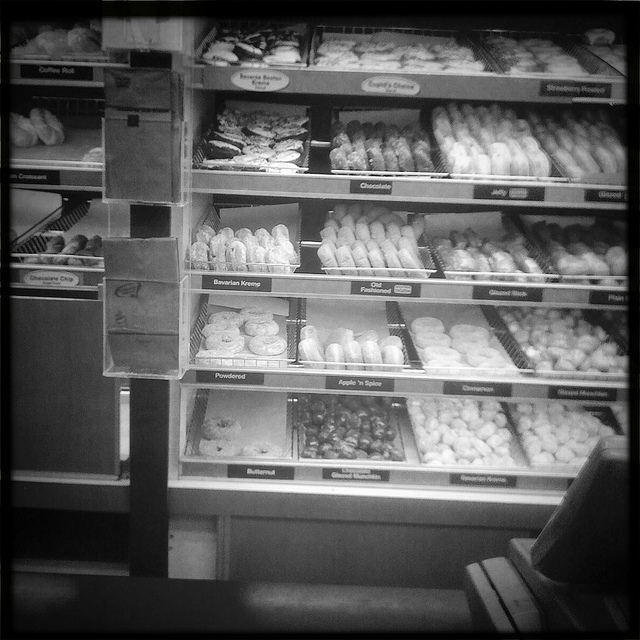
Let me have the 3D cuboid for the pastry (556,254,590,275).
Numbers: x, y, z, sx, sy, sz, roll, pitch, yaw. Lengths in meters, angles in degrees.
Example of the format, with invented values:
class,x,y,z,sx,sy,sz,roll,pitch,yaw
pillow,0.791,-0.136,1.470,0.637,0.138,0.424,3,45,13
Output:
class,x,y,z,sx,sy,sz,roll,pitch,yaw
pastry,0.842,-0.199,2.299,0.062,0.036,0.080,8,22,-4

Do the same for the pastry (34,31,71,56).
class,x,y,z,sx,sy,sz,roll,pitch,yaw
pastry,-0.759,-0.782,1.996,0.097,0.032,0.089,-7,63,-14

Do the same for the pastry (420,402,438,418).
class,x,y,z,sx,sy,sz,roll,pitch,yaw
pastry,0.408,0.328,2.585,0.030,0.016,0.062,3,24,-6

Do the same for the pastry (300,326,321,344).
class,x,y,z,sx,sy,sz,roll,pitch,yaw
pastry,-0.028,0.052,2.454,0.050,0.061,0.058,-2,36,-3

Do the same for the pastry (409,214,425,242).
class,x,y,z,sx,sy,sz,roll,pitch,yaw
pastry,0.371,-0.354,2.597,0.049,0.023,0.104,-2,60,-1

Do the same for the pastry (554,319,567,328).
class,x,y,z,sx,sy,sz,roll,pitch,yaw
pastry,0.901,0.010,2.578,0.027,0.010,0.030,17,16,5

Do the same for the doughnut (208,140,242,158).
class,x,y,z,sx,sy,sz,roll,pitch,yaw
doughnut,-0.307,-0.554,2.240,0.107,0.056,0.075,-15,6,-2

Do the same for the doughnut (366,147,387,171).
class,x,y,z,sx,sy,sz,roll,pitch,yaw
doughnut,0.184,-0.522,2.264,0.043,0.025,0.088,-7,53,-4

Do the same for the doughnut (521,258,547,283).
class,x,y,z,sx,sy,sz,roll,pitch,yaw
doughnut,0.707,-0.174,2.290,0.034,0.039,0.134,10,26,-9

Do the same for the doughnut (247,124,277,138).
class,x,y,z,sx,sy,sz,roll,pitch,yaw
doughnut,-0.199,-0.659,2.418,0.054,0.029,0.084,4,26,-14

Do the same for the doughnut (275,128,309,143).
class,x,y,z,sx,sy,sz,roll,pitch,yaw
doughnut,-0.095,-0.636,2.394,0.074,0.029,0.063,-6,19,-2

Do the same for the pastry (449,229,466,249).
class,x,y,z,sx,sy,sz,roll,pitch,yaw
pastry,0.509,-0.299,2.561,0.031,0.029,0.107,9,24,-6

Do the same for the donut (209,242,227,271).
class,x,y,z,sx,sy,sz,roll,pitch,yaw
donut,-0.314,-0.196,2.139,0.052,0.088,0.026,2,-2,-12

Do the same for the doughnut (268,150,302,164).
class,x,y,z,sx,sy,sz,roll,pitch,yaw
doughnut,-0.106,-0.511,2.181,0.059,0.019,0.068,5,30,13

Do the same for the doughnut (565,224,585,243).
class,x,y,z,sx,sy,sz,roll,pitch,yaw
doughnut,0.949,-0.321,2.576,0.056,0.043,0.081,1,46,6

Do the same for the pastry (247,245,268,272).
class,x,y,z,sx,sy,sz,roll,pitch,yaw
pastry,-0.196,-0.195,2.156,0.054,0.082,0.020,-4,-8,-8

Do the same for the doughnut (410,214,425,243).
class,x,y,z,sx,sy,sz,roll,pitch,yaw
doughnut,0.372,-0.351,2.597,0.049,0.024,0.105,-3,59,3

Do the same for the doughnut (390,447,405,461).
class,x,y,z,sx,sy,sz,roll,pitch,yaw
doughnut,0.266,0.454,2.381,0.043,0.034,0.084,-13,6,12

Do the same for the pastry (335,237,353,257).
class,x,y,z,sx,sy,sz,roll,pitch,yaw
pastry,0.089,-0.243,2.314,0.059,0.064,0.057,-6,10,-39

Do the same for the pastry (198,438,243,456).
class,x,y,z,sx,sy,sz,roll,pitch,yaw
pastry,-0.344,0.426,2.371,0.073,0.027,0.080,3,10,0

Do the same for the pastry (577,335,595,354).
class,x,y,z,sx,sy,sz,roll,pitch,yaw
pastry,0.929,0.080,2.419,0.041,0.026,0.064,-1,42,9

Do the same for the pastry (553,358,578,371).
class,x,y,z,sx,sy,sz,roll,pitch,yaw
pastry,0.825,0.150,2.340,0.046,0.016,0.051,1,30,2

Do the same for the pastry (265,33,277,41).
class,x,y,z,sx,sy,sz,roll,pitch,yaw
pastry,-0.161,-0.928,2.284,0.040,0.012,0.041,-9,25,-8

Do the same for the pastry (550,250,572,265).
class,x,y,z,sx,sy,sz,roll,pitch,yaw
pastry,0.822,-0.226,2.390,0.050,0.021,0.053,-19,31,-23

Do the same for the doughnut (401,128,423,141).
class,x,y,z,sx,sy,sz,roll,pitch,yaw
doughnut,0.336,-0.670,2.508,0.058,0.019,0.056,30,38,27

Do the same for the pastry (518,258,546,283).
class,x,y,z,sx,sy,sz,roll,pitch,yaw
pastry,0.695,-0.168,2.290,0.041,0.052,0.158,-24,24,11

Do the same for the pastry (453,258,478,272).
class,x,y,z,sx,sy,sz,roll,pitch,yaw
pastry,0.494,-0.184,2.310,0.108,0.033,0.048,-19,8,-33

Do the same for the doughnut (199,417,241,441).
class,x,y,z,sx,sy,sz,roll,pitch,yaw
doughnut,-0.356,0.375,2.447,0.081,0.034,0.086,1,8,-40

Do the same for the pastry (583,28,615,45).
class,x,y,z,sx,sy,sz,roll,pitch,yaw
pastry,0.949,-0.950,2.338,0.068,0.026,0.068,11,45,17

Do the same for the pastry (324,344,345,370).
class,x,y,z,sx,sy,sz,roll,pitch,yaw
pastry,0.050,0.114,2.305,0.062,0.073,0.132,3,52,-2

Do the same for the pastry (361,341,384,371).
class,x,y,z,sx,sy,sz,roll,pitch,yaw
pastry,0.171,0.111,2.295,0.067,0.150,0.089,-3,2,-4

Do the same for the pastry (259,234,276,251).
class,x,y,z,sx,sy,sz,roll,pitch,yaw
pastry,-0.165,-0.263,2.262,0.046,0.026,0.052,-3,42,-11

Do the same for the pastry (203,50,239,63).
class,x,y,z,sx,sy,sz,roll,pitch,yaw
pastry,-0.282,-0.764,2.011,0.077,0.023,0.056,3,40,-18

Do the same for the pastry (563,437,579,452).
class,x,y,z,sx,sy,sz,roll,pitch,yaw
pastry,0.873,0.423,2.399,0.036,0.011,0.041,-6,31,0

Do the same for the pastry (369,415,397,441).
class,x,y,z,sx,sy,sz,roll,pitch,yaw
pastry,0.221,0.383,2.474,0.073,0.029,0.072,33,19,37

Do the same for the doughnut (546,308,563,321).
class,x,y,z,sx,sy,sz,roll,pitch,yaw
doughnut,0.887,-0.023,2.623,0.042,0.027,0.048,0,30,6

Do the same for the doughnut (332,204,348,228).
class,x,y,z,sx,sy,sz,roll,pitch,yaw
doughnut,0.075,-0.394,2.632,0.027,0.084,0.076,27,-35,-31

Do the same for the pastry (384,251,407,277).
class,x,y,z,sx,sy,sz,roll,pitch,yaw
pastry,0.244,-0.183,2.221,0.043,0.090,0.022,-3,-24,-45

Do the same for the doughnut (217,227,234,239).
class,x,y,z,sx,sy,sz,roll,pitch,yaw
doughnut,-0.310,-0.293,2.303,0.044,0.028,0.049,8,30,-10

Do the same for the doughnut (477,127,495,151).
class,x,y,z,sx,sy,sz,roll,pitch,yaw
doughnut,0.549,-0.599,2.287,0.058,0.039,0.123,-1,47,16

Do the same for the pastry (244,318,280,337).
class,x,y,z,sx,sy,sz,roll,pitch,yaw
pastry,-0.204,0.023,2.462,0.068,0.024,0.075,11,26,18

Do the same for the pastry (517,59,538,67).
class,x,y,z,sx,sy,sz,roll,pitch,yaw
pastry,0.623,-0.770,2.086,0.043,0.014,0.049,2,31,6

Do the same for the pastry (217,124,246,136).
class,x,y,z,sx,sy,sz,roll,pitch,yaw
pastry,-0.299,-0.641,2.364,0.054,0.017,0.062,8,14,-26

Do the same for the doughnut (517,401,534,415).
class,x,y,z,sx,sy,sz,roll,pitch,yaw
doughnut,0.765,0.319,2.578,0.060,0.032,0.046,-13,6,17

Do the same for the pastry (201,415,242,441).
class,x,y,z,sx,sy,sz,roll,pitch,yaw
pastry,-0.349,0.360,2.443,0.082,0.034,0.085,12,11,33

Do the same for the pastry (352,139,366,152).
class,x,y,z,sx,sy,sz,roll,pitch,yaw
pastry,0.135,-0.587,2.329,0.051,0.058,0.038,-1,2,-1

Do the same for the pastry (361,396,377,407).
class,x,y,z,sx,sy,sz,roll,pitch,yaw
pastry,0.189,0.302,2.669,0.065,0.029,0.051,-16,6,-8

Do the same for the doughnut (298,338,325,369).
class,x,y,z,sx,sy,sz,roll,pitch,yaw
doughnut,-0.026,0.110,2.290,0.082,0.082,0.165,-13,6,0
